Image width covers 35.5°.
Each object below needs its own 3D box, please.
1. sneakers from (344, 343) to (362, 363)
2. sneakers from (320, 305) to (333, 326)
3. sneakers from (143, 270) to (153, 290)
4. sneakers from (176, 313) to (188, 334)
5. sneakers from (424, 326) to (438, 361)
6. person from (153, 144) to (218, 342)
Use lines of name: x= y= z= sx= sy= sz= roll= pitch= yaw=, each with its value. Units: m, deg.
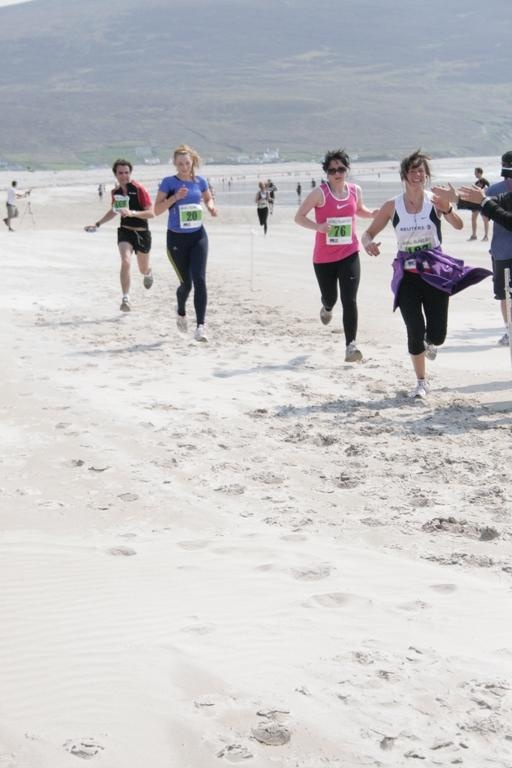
sneakers: x=0.872 y=-0.263 z=7.047 sx=0.107 sy=0.144 sz=0.217 roll=-5 pitch=-15 yaw=-9
sneakers: x=0.702 y=-0.717 z=8.072 sx=0.100 sy=0.248 sz=0.102 roll=-3 pitch=-26 yaw=-7
sneakers: x=-1.474 y=-1.435 z=10.723 sx=0.138 sy=0.331 sz=0.137 roll=-1 pitch=-16 yaw=3
sneakers: x=-0.767 y=-0.632 z=8.417 sx=0.087 sy=0.231 sz=0.094 roll=-8 pitch=-23 yaw=-15
sneakers: x=1.401 y=-0.299 z=6.462 sx=0.116 sy=0.306 sz=0.128 roll=-3 pitch=16 yaw=11
person: x=-0.713 y=-1.406 z=8.162 sx=0.602 sy=1.901 sz=1.016 roll=-2 pitch=10 yaw=-3
